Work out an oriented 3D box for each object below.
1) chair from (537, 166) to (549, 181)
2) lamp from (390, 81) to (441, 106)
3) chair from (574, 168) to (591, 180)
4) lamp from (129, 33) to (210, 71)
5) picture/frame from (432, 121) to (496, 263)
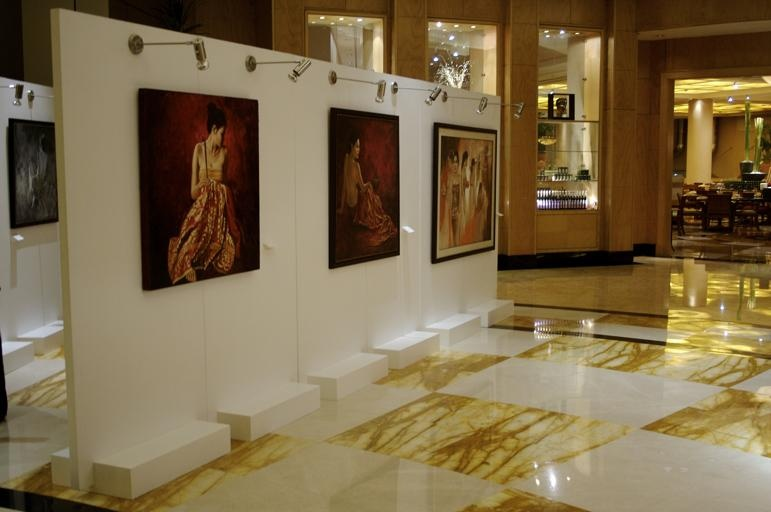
[{"bbox_3d":[3.769,-1.998,13.733,0.322,0.341,0.171,-4,5,-42],"label":"chair"},{"bbox_3d":[0.486,-2.171,7.587,0.352,0.271,1.161,6,11,30],"label":"lamp"},{"bbox_3d":[4.845,-2.011,14.024,0.346,0.367,0.267,0,3,10],"label":"chair"},{"bbox_3d":[-1.767,-1.730,4.835,0.617,0.340,0.217,-4,10,2],"label":"lamp"},{"bbox_3d":[1.140,-0.998,8.560,0.132,1.961,1.987,6,10,35],"label":"picture/frame"}]
